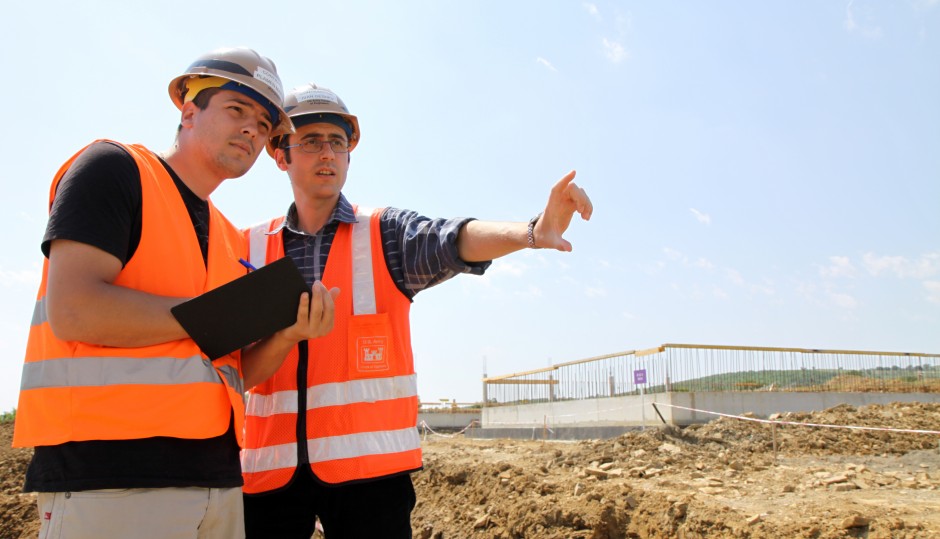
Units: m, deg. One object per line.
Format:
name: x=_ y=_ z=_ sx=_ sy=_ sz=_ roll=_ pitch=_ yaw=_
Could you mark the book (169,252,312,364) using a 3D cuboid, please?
book: x=-1.525 y=0.052 z=3.843 sx=0.843 sy=0.599 sz=0.570 roll=-30 pitch=33 yaw=-10
